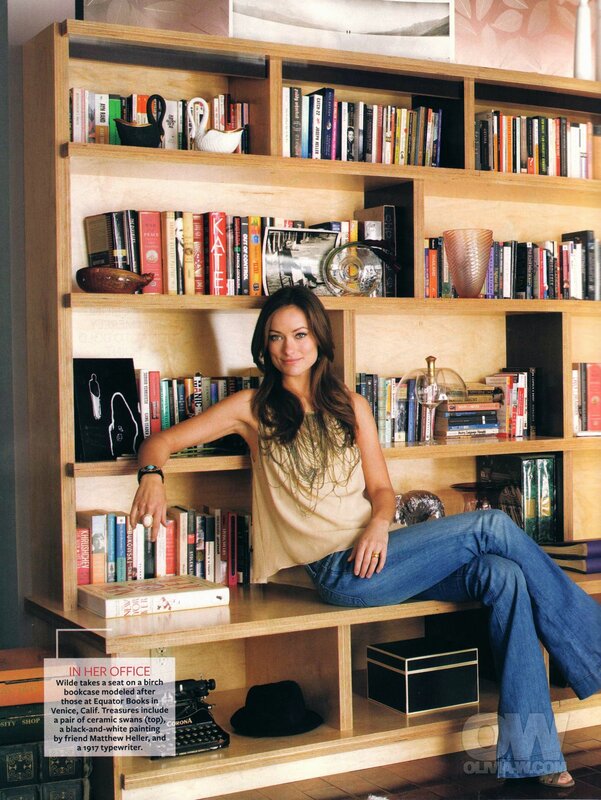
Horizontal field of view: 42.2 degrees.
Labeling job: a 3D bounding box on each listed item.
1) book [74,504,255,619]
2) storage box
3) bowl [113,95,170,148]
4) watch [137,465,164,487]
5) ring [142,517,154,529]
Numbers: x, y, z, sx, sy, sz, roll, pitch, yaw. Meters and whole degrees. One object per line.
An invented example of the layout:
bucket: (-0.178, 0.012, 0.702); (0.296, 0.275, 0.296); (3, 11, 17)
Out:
book: (-0.326, 0.354, 2.023); (0.394, 0.129, 0.279); (3, -4, -35)
storage box: (0.323, 0.746, 2.145); (0.222, 0.123, 0.211); (1, -3, -31)
bowl: (-0.407, -0.703, 1.981); (0.122, 0.142, 0.087); (-3, 0, -20)
watch: (-0.352, 0.175, 1.821); (0.056, 0.042, 0.050); (-3, 0, -12)
ring: (-0.340, 0.273, 1.730); (0.008, 0.022, 0.024); (-9, 6, 32)
